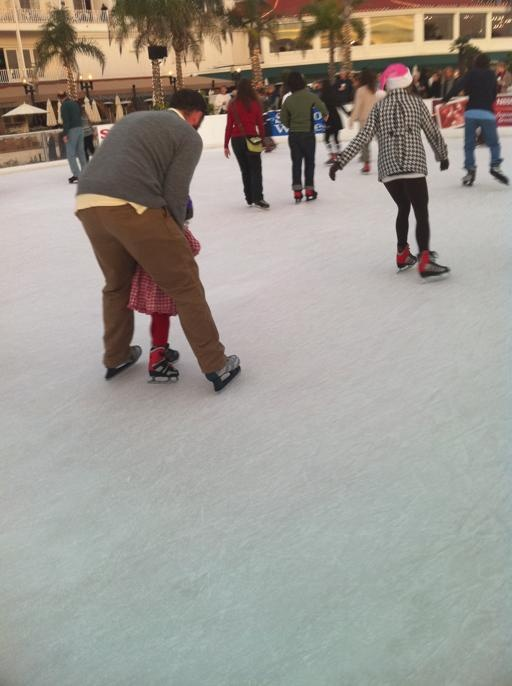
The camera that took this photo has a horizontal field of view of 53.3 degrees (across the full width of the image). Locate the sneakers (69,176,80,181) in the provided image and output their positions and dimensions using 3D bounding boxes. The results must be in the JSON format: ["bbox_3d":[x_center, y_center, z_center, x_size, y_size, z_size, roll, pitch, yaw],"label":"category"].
[{"bbox_3d":[-4.469,-4.001,12.475,0.203,0.072,0.199,6,30,12],"label":"sneakers"}]

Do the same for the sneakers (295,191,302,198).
[{"bbox_3d":[0.698,-2.400,8.297,0.090,0.116,0.120,-4,16,1],"label":"sneakers"}]

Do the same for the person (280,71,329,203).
[{"bbox_3d":[0.755,-3.235,8.069,0.617,1.941,0.500,-16,22,-25],"label":"person"}]

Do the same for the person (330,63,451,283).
[{"bbox_3d":[1.220,-1.436,4.351,0.824,1.691,0.562,1,21,20],"label":"person"}]

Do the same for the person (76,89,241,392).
[{"bbox_3d":[-0.540,-0.595,2.943,0.967,1.648,0.704,2,12,-16],"label":"person"}]

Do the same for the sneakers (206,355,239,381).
[{"bbox_3d":[-0.184,0.149,3.032,0.091,0.101,0.246,17,40,24],"label":"sneakers"}]

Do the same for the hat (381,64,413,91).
[{"bbox_3d":[1.158,-2.183,4.177,0.253,0.213,0.221,0,20,16],"label":"hat"}]

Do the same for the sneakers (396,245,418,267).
[{"bbox_3d":[1.398,-0.800,4.684,0.097,0.207,0.291,13,35,37],"label":"sneakers"}]
